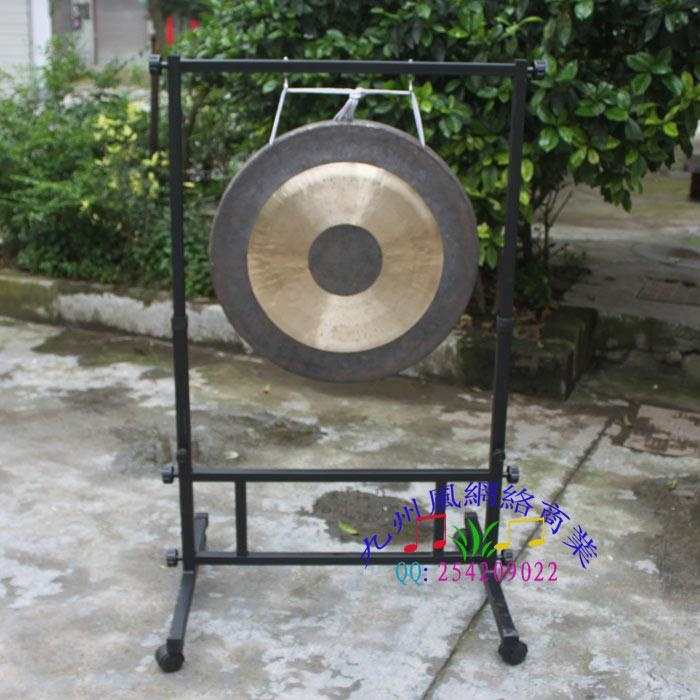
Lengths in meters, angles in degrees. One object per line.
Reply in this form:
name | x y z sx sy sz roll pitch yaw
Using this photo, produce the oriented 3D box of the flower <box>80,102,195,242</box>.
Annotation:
flower | -1.802 -1.415 8.035 0.657 1.054 0.667 2 13 -4
